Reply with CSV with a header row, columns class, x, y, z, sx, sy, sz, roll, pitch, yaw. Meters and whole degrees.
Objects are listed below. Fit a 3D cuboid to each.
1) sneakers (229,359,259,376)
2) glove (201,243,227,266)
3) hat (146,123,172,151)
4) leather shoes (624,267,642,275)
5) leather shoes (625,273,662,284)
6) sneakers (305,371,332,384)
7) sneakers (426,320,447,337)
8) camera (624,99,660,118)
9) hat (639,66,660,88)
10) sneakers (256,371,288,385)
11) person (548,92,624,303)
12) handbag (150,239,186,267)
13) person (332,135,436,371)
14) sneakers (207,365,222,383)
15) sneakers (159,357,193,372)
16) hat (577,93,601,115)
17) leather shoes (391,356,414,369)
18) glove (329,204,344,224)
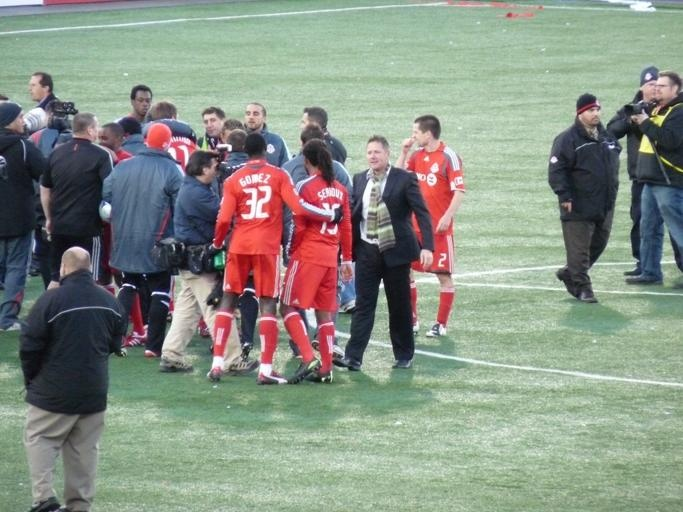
class,x,y,z,sx,sy,sz,roll,pitch,yaw
sneakers,-1.138,1.227,17.419,0.404,0.159,0.127,-14,30,-26
glove,-1.439,-0.008,17.100,0.125,0.151,0.219,36,-15,9
hat,-2.163,-1.360,17.738,0.279,0.298,0.334,7,-3,-14
leather shoes,3.925,0.215,20.622,0.233,0.084,0.078,4,4,38
leather shoes,4.022,0.292,20.313,0.553,0.196,0.172,3,3,15
sneakers,-0.259,1.355,17.093,0.318,0.116,0.102,4,6,1
sneakers,1.139,0.899,18.463,0.359,0.158,0.111,0,7,-21
camera,3.888,-1.909,19.904,0.224,0.120,0.390,10,7,37
hat,4.061,-2.375,20.283,0.251,0.250,0.316,-1,-1,-5
sneakers,-0.799,1.359,17.083,0.395,0.142,0.129,-1,11,-13
person,3.093,-0.750,19.621,0.783,2.610,0.689,4,9,28
handbag,-1.982,-0.042,17.242,0.368,0.296,0.345,1,5,-13
person,0.482,-0.030,17.433,1.079,2.637,0.393,-1,8,0
sneakers,-1.438,1.307,17.005,0.109,0.099,0.212,10,-35,-14
sneakers,-1.905,1.225,17.356,0.386,0.137,0.141,-1,15,-23
hat,3.097,-1.913,19.417,0.286,0.203,0.272,-5,-16,-42
leather shoes,0.684,1.231,17.493,0.222,0.125,0.102,3,-2,-9
glove,-0.066,-0.458,17.029,0.079,0.176,0.143,5,3,10
